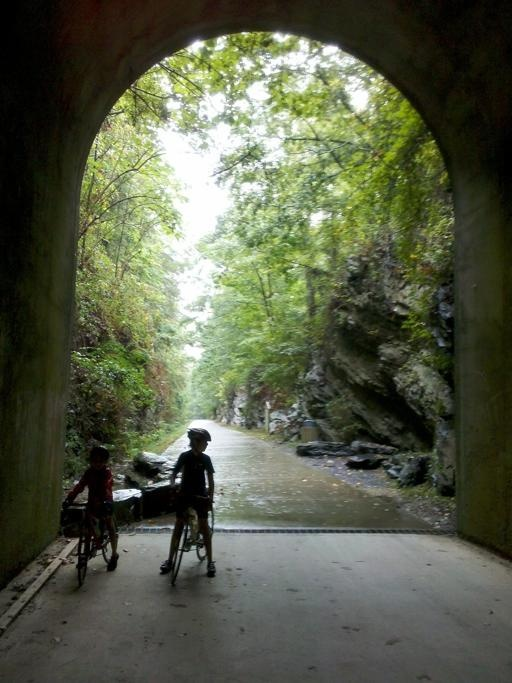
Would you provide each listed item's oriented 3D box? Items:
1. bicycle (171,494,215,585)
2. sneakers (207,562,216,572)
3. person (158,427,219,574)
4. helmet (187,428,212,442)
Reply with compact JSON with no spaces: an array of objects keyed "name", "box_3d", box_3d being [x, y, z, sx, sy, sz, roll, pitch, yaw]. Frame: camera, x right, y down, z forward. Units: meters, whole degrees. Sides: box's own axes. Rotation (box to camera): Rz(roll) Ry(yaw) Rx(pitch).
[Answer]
[{"name":"bicycle","box_3d":[-0.695,2.114,5.558,0.422,0.514,0.854,-3,-21,5]},{"name":"sneakers","box_3d":[-0.432,2.263,5.318,0.052,0.067,0.159,2,-19,-7]},{"name":"person","box_3d":[-0.668,1.618,5.402,0.557,1.433,0.608,1,-7,-4]},{"name":"helmet","box_3d":[-0.572,0.945,5.424,0.234,0.092,0.168,7,-12,-5]}]
